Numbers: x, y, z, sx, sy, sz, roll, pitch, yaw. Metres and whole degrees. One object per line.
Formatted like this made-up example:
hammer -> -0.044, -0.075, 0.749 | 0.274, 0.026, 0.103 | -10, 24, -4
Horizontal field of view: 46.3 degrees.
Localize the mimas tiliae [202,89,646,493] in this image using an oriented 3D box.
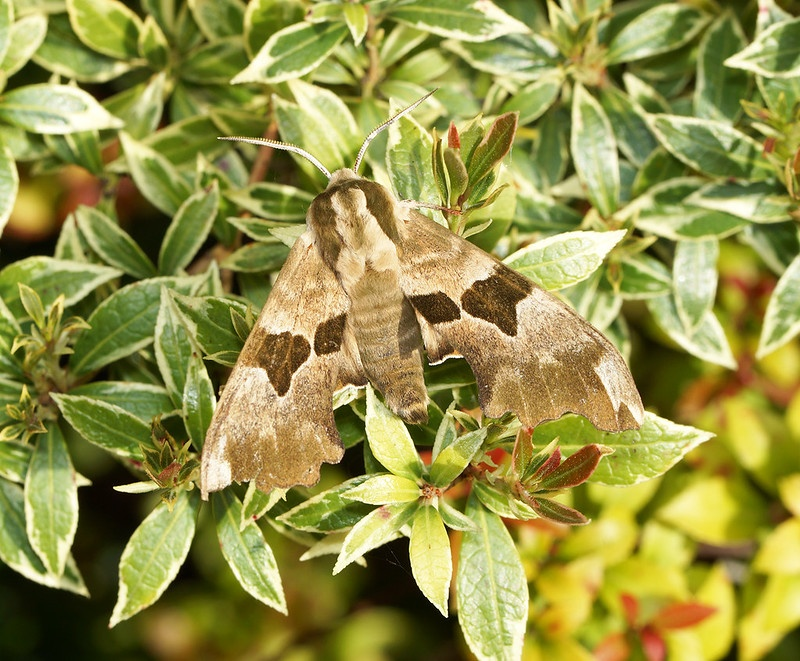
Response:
mimas tiliae -> 0.010, -0.034, 2.965 | 1.318, 0.381, 0.871 | -6, 64, -3
